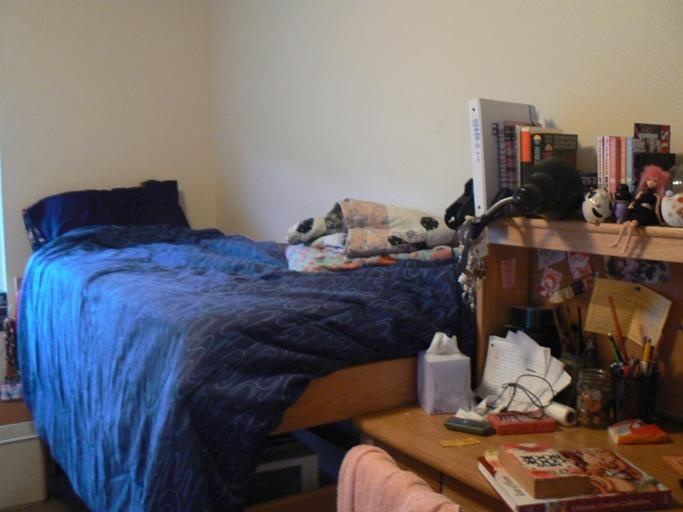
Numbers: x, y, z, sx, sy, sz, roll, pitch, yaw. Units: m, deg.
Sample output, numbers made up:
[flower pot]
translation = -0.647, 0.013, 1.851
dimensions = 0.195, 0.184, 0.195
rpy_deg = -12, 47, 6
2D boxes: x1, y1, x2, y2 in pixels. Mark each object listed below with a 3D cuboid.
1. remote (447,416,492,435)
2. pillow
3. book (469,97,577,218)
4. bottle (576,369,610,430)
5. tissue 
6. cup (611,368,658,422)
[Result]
[remote]
translation = 0.357, 0.471, 1.533
dimensions = 0.088, 0.017, 0.048
rpy_deg = 1, 3, 31
[pillow]
translation = -1.530, -0.296, 3.479
dimensions = 0.658, 0.191, 0.553
rpy_deg = -8, 21, -29
[book]
translation = 0.595, -0.327, 1.780
dimensions = 0.330, 0.363, 0.206
rpy_deg = -8, 12, -28
[bottle]
translation = 0.730, 0.433, 1.536
dimensions = 0.106, 0.168, 0.105
rpy_deg = 9, -31, 5
[tissue ]
translation = 0.316, 0.360, 1.698
dimensions = 0.140, 0.229, 0.132
rpy_deg = -1, 3, -5
[cup]
translation = 0.808, 0.392, 1.561
dimensions = 0.126, 0.141, 0.136
rpy_deg = 1, 0, 0
